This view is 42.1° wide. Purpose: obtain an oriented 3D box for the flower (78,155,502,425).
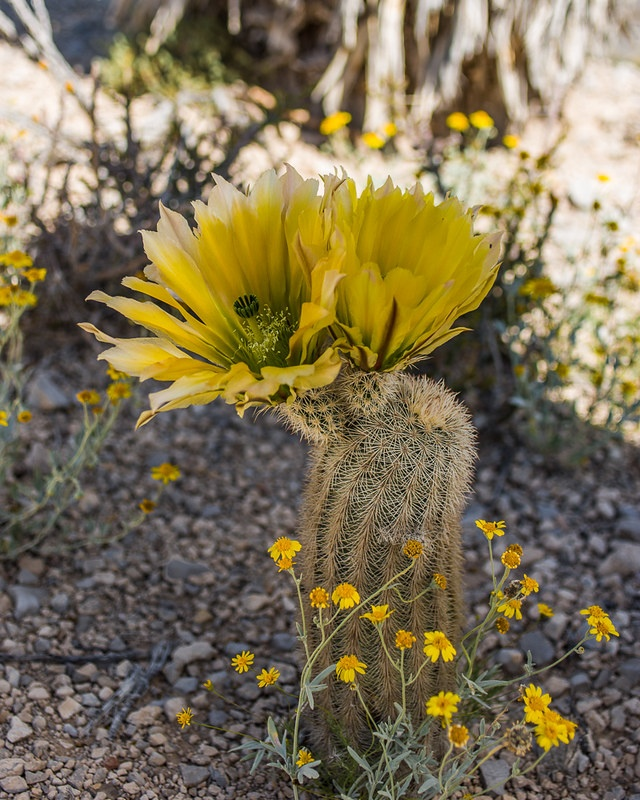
[{"bbox_3d":[-0.059,-0.212,1.522,0.730,0.306,0.474,-28,60,-24],"label":"flower"}]
